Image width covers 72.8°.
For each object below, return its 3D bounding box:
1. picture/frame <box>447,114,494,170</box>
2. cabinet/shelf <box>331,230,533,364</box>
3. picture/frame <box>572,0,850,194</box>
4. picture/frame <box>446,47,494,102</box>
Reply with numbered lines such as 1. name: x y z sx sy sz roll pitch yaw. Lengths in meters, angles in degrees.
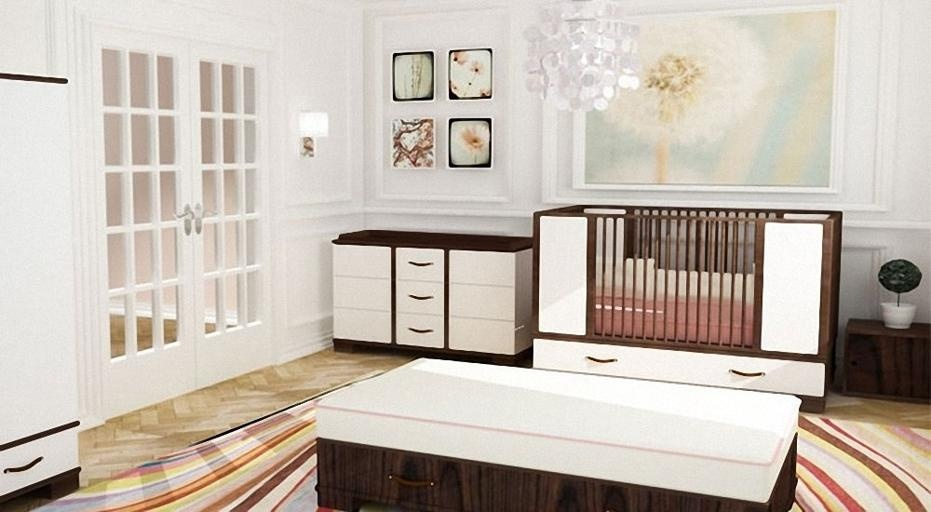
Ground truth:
1. picture/frame: 0.072 -1.139 6.200 0.570 0.567 0.064 2 4 16
2. cabinet/shelf: -0.309 0.396 6.140 1.914 1.067 0.685 2 6 21
3. picture/frame: 2.175 -1.375 5.281 1.877 1.262 0.069 1 2 17
4. picture/frame: 0.065 -1.789 6.147 0.591 0.555 0.062 0 9 15
